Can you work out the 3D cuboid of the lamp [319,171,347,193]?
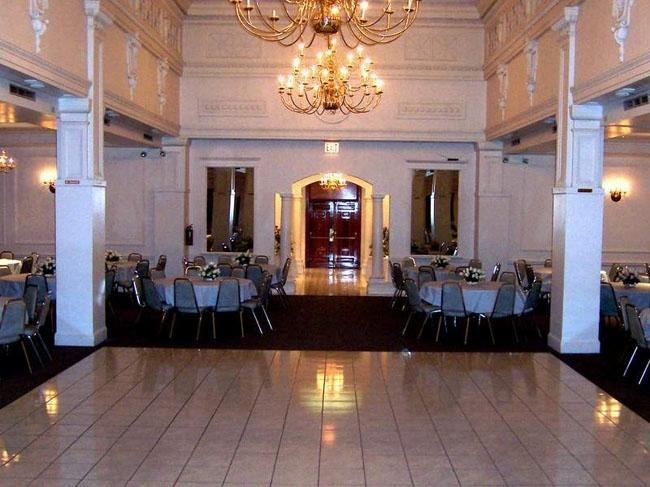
[{"bbox_3d":[0.243,-1.942,16.500,0.543,0.298,0.565,-2,-29,1],"label":"lamp"}]

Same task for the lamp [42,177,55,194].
[{"bbox_3d":[-7.183,-1.511,13.392,0.451,0.396,0.143,5,8,35],"label":"lamp"}]

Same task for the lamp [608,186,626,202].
[{"bbox_3d":[7.487,-1.300,13.181,0.364,0.500,0.190,-2,-5,12],"label":"lamp"}]
